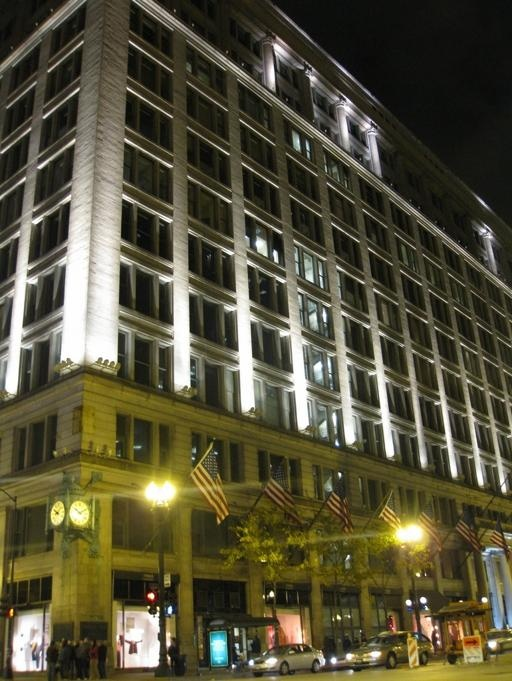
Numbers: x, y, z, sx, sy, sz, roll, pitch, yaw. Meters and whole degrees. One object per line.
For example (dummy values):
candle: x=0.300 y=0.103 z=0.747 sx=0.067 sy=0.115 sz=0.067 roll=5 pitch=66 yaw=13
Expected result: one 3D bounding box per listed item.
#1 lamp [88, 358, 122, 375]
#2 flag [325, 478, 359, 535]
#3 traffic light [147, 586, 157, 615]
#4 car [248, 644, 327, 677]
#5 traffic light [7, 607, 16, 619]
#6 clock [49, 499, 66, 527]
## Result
lamp: x=-7.191 y=1.161 z=29.224 sx=0.615 sy=0.734 sz=1.378 roll=-23 pitch=-30 yaw=35
flag: x=4.431 y=8.981 z=33.474 sx=1.136 sy=3.024 sz=2.347 roll=-7 pitch=-25 yaw=5
traffic light: x=-3.185 y=7.932 z=18.639 sx=0.316 sy=0.728 sz=0.751 roll=1 pitch=-25 yaw=-12
car: x=1.240 y=13.537 z=25.873 sx=1.314 sy=1.135 sz=3.803 roll=-20 pitch=-28 yaw=30
traffic light: x=-9.655 y=10.733 z=24.135 sx=0.165 sy=0.332 sz=0.430 roll=-2 pitch=-24 yaw=-7
clock: x=-8.118 y=7.086 z=25.090 sx=0.134 sy=1.053 sz=1.060 roll=5 pitch=-10 yaw=-35
